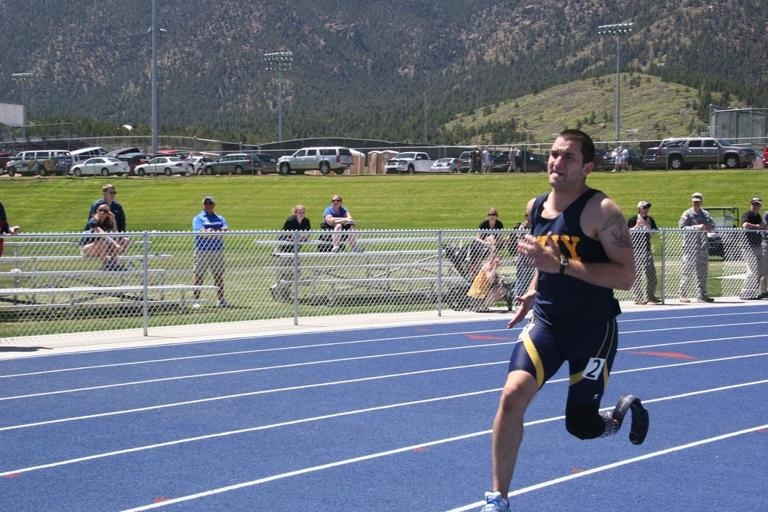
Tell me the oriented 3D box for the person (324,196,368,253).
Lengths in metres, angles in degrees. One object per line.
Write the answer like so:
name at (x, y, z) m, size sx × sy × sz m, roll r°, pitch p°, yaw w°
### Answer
person at (-0.963, -0.696, 20.604) m, size 0.531 × 1.221 × 0.856 m, roll -5°, pitch 1°, yaw -24°

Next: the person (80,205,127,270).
person at (-5.300, -0.323, 18.231) m, size 0.855 × 1.133 × 1.895 m, roll -2°, pitch 9°, yaw -17°

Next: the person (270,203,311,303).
person at (-1.805, 0.011, 19.274) m, size 0.573 × 2.225 × 0.923 m, roll 11°, pitch -28°, yaw -16°

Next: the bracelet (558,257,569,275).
bracelet at (1.882, 0.097, 10.075) m, size 0.089 × 0.204 × 0.118 m, roll 2°, pitch 7°, yaw 15°

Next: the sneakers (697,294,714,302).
sneakers at (6.938, 0.918, 20.875) m, size 0.390 × 0.189 × 0.153 m, roll 0°, pitch 4°, yaw 0°

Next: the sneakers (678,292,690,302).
sneakers at (6.457, 0.899, 20.754) m, size 0.221 × 0.250 × 0.144 m, roll -2°, pitch 3°, yaw 0°

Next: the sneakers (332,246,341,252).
sneakers at (-0.951, -0.146, 19.172) m, size 0.184 × 0.096 × 0.230 m, roll -1°, pitch 9°, yaw -7°

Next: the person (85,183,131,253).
person at (-5.457, -0.667, 19.036) m, size 0.626 × 1.438 × 0.943 m, roll 1°, pitch 13°, yaw -26°

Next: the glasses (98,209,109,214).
glasses at (-5.448, -0.871, 18.671) m, size 0.120 × 0.118 × 0.093 m, roll 21°, pitch -2°, yaw 11°
